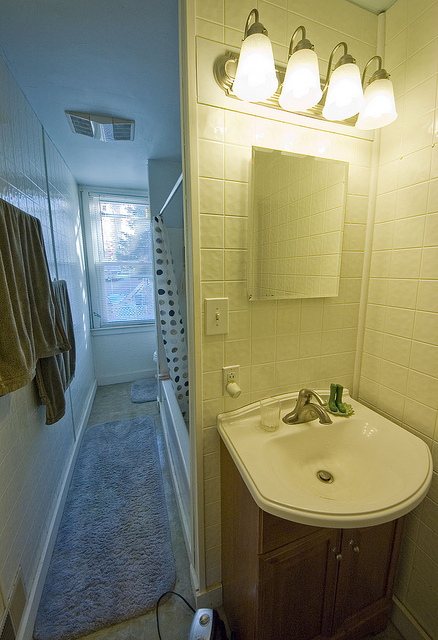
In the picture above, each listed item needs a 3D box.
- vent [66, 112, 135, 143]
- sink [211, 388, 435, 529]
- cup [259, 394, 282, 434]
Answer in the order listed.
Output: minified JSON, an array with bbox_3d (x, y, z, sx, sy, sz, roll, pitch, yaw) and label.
[{"bbox_3d":[-0.630,-1.038,2.284,0.335,0.095,0.304,-7,15,-13],"label":"vent"},{"bbox_3d":[0.349,0.415,1.344,0.619,0.207,0.540,-8,15,-19],"label":"sink"},{"bbox_3d":[0.187,0.328,1.492,0.072,0.100,0.088,1,0,10],"label":"cup"}]
